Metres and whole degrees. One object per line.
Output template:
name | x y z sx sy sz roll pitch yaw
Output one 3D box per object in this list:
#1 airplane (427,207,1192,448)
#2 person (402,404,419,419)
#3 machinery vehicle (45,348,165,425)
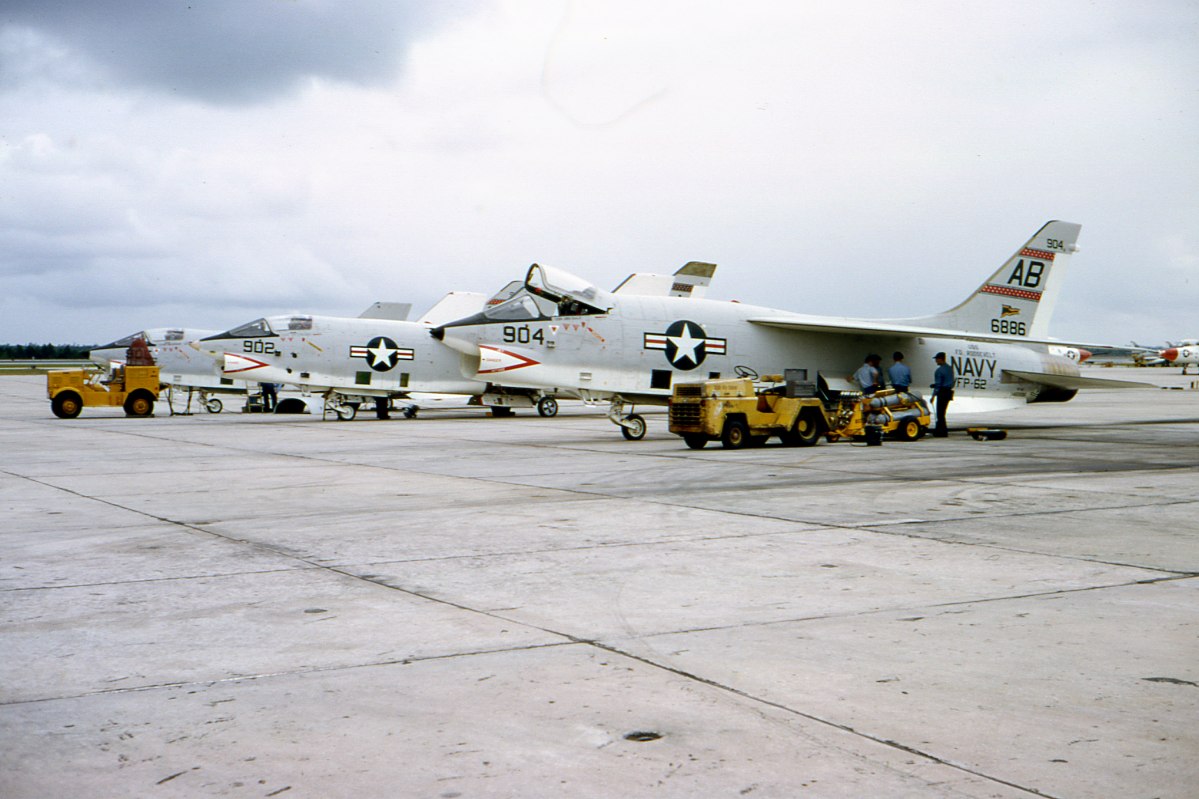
airplane | 5.047 -1.616 24.405 13.936 2.586 10.471 2 0 -20
person | -7.433 0.538 34.044 0.747 0.216 0.713 0 28 -7
machinery vehicle | -19.732 -0.650 34.560 4.300 1.394 1.985 -4 11 -18
